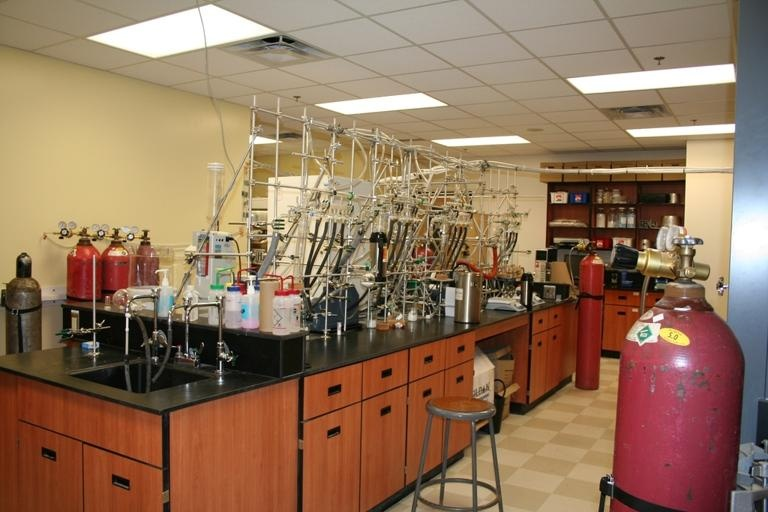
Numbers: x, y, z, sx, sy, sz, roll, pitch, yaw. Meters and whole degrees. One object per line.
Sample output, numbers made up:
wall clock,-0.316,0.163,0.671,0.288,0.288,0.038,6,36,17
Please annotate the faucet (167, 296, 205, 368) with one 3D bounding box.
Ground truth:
faucet,-1.264,0.479,3.555,0.215,0.416,0.213,3,0,30

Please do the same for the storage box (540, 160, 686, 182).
storage box,3.534,-1.332,9.049,2.114,0.373,0.543,2,2,25

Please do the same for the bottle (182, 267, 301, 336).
bottle,-0.756,0.262,3.432,0.398,0.300,0.402,0,-3,0

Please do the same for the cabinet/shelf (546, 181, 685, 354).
cabinet/shelf,3.350,0.121,8.733,2.005,2.582,1.579,2,2,24

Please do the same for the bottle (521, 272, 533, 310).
bottle,1.420,0.346,5.789,0.138,0.338,0.141,1,1,0
